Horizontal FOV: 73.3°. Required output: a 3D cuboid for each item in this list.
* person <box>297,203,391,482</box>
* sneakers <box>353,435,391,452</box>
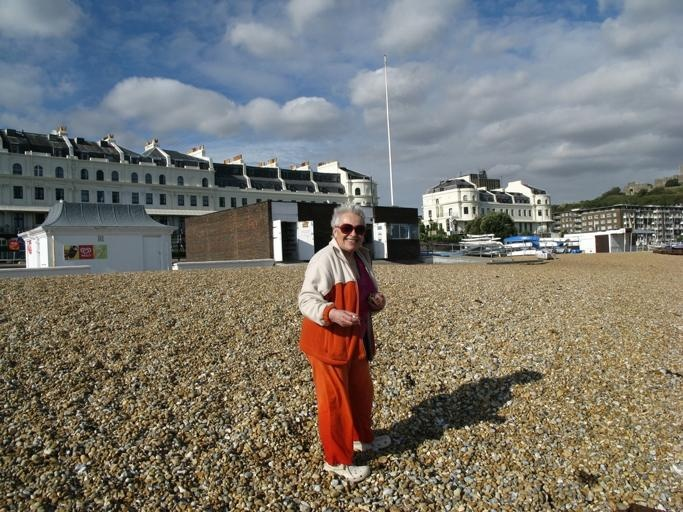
[{"bbox_3d":[0.040,0.868,4.568,0.631,2.158,0.843,-2,2,41],"label":"person"},{"bbox_3d":[0.332,2.021,5.089,0.415,0.179,0.157,-5,10,-7],"label":"sneakers"}]
